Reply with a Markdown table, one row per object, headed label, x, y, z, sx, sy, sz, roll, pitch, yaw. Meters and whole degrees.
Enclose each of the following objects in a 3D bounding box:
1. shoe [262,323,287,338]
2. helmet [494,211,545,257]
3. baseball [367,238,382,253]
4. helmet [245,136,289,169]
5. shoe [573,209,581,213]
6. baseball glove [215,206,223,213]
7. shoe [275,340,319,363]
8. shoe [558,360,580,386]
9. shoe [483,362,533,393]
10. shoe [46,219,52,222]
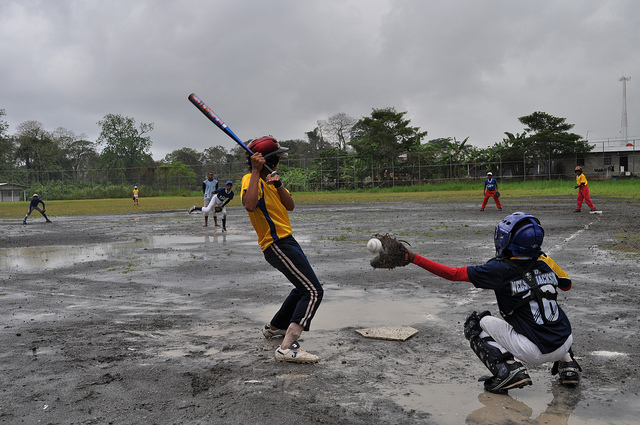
| label | x | y | z | sx | sy | sz | roll | pitch | yaw |
| --- | --- | --- | --- | --- | --- | --- | --- | --- | --- |
| shoe | -0.573 | 1.582 | 6.409 | 0.386 | 0.170 | 0.124 | -2 | 4 | -13 |
| helmet | 2.152 | 0.270 | 5.175 | 0.458 | 0.534 | 0.553 | 2 | 7 | -7 |
| baseball | 0.592 | 0.368 | 5.204 | 0.148 | 0.173 | 0.158 | -2 | 7 | 1 |
| helmet | -0.687 | -0.756 | 6.127 | 0.557 | 0.417 | 0.393 | -13 | 16 | -29 |
| shoe | 11.705 | -0.088 | 21.896 | 0.277 | 0.135 | 0.658 | 5 | 9 | 44 |
| baseball glove | -4.013 | -0.154 | 18.928 | 0.224 | 0.366 | 0.372 | 9 | -14 | -32 |
| shoe | -0.283 | 1.662 | 5.692 | 0.553 | 0.255 | 0.199 | 2 | -5 | -2 |
| shoe | 2.616 | 1.691 | 5.041 | 0.123 | 0.135 | 0.307 | 0 | -2 | 16 |
| shoe | 1.835 | 1.698 | 4.981 | 0.572 | 0.289 | 0.207 | -6 | -17 | -6 |
| shoe | -14.651 | 0.451 | 25.850 | 0.397 | 0.163 | 0.133 | -3 | -2 | 26 |
